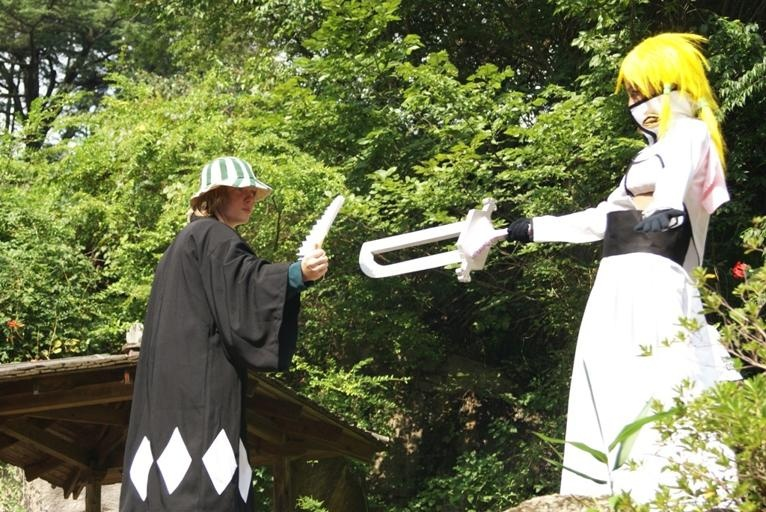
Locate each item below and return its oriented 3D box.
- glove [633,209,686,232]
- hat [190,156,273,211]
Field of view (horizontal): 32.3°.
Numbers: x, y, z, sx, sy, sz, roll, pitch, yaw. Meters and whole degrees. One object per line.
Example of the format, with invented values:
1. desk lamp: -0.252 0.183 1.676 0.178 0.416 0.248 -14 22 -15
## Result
1. glove: 3.357 -0.428 15.976 0.655 0.294 0.267 -3 7 -18
2. hat: -1.825 -0.927 16.289 0.776 0.343 0.778 -10 -16 35
